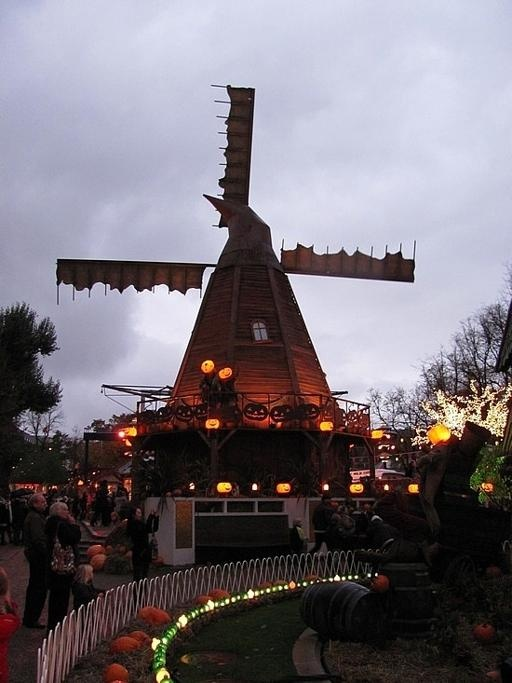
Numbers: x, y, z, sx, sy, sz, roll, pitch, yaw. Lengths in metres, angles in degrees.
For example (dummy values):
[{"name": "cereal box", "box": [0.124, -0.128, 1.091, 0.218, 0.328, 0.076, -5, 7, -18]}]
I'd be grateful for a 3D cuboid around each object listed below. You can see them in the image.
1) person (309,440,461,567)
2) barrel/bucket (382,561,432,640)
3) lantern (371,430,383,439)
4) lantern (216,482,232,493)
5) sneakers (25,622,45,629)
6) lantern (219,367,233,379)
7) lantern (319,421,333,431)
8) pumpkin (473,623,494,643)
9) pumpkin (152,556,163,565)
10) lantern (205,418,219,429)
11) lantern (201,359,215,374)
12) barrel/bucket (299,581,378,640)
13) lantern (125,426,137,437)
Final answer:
[{"name": "person", "box": [2.175, 2.115, 9.264, 0.674, 1.627, 1.282, -6, -8, 42]}, {"name": "barrel/bucket", "box": [1.637, 2.998, 8.254, 0.697, 0.804, 0.608, 1, -21, -4]}, {"name": "lantern", "box": [4.388, 3.434, 25.824, 0.451, 0.370, 0.726, 2, -11, 2]}, {"name": "lantern", "box": [-0.931, 4.149, 20.251, 0.352, 0.168, 0.334, 6, -9, -34]}, {"name": "sneakers", "box": [-2.774, 3.543, 8.930, 0.303, 0.104, 0.091, 2, -14, -3]}, {"name": "lantern", "box": [-0.960, 1.035, 22.734, 0.391, 0.342, 0.146, 10, -30, 28]}, {"name": "lantern", "box": [2.169, 2.674, 22.393, 0.422, 0.320, 0.342, -1, -5, 9]}, {"name": "pumpkin", "box": [2.505, 3.209, 7.865, 0.183, 0.138, 0.161, 3, -6, -6]}, {"name": "pumpkin", "box": [-2.302, 5.147, 16.729, 0.332, 0.104, 0.227, 0, -7, 28]}, {"name": "lantern", "box": [-1.308, 2.458, 21.249, 0.378, 0.343, 0.342, 0, -5, -3]}, {"name": "lantern", "box": [-1.543, 0.844, 22.955, 0.387, 0.461, 0.486, -1, -5, 0]}, {"name": "barrel/bucket", "box": [0.909, 3.035, 7.963, 0.421, 0.606, 0.751, 4, -7, -41]}, {"name": "lantern", "box": [-4.410, 3.185, 25.190, 0.316, 0.397, 0.899, 1, -5, -15]}]
